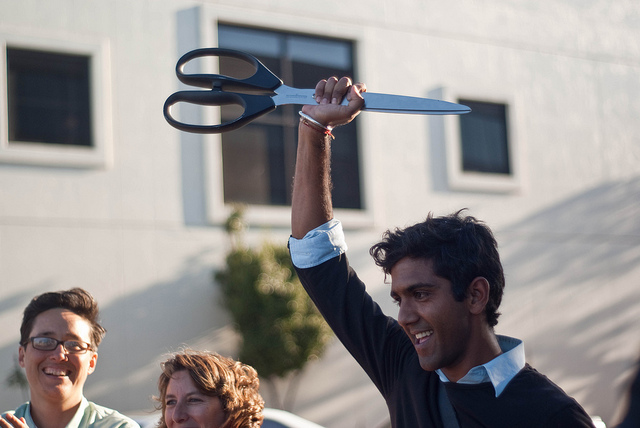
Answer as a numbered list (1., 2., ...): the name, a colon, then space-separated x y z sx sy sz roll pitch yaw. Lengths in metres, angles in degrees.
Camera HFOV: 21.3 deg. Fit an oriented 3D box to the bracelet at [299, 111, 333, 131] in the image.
1. bracelet: -0.064 -1.121 20.760 0.261 0.063 0.251 42 5 41
